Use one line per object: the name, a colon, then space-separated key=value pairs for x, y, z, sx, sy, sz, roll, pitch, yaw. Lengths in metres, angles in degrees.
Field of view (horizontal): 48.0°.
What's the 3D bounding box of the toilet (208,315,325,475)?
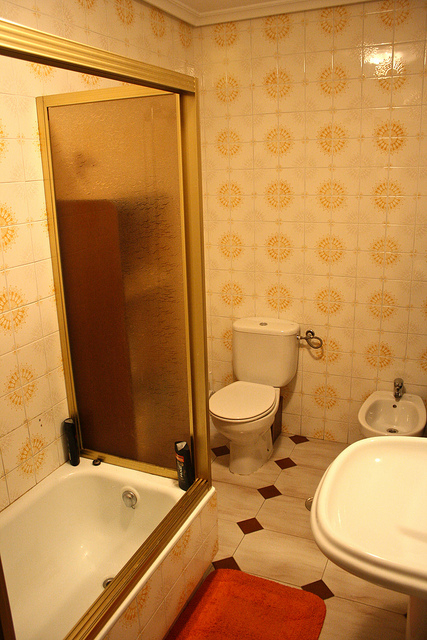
toilet: x=0.253 y=0.462 z=2.836 sx=0.488 sy=0.801 sz=0.762 roll=6 pitch=16 yaw=25
